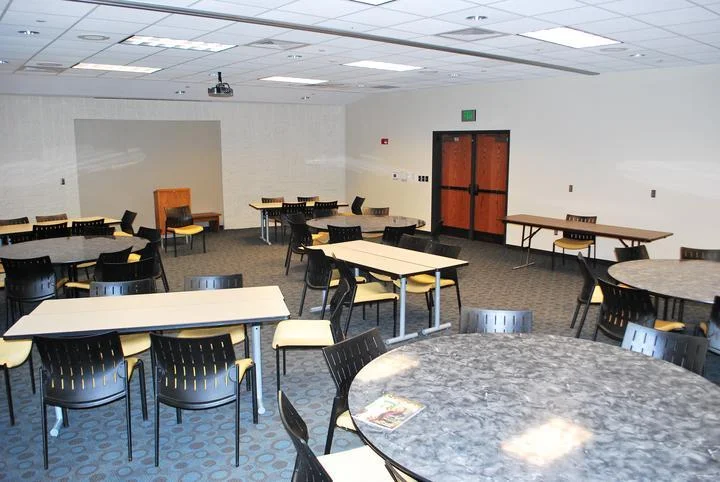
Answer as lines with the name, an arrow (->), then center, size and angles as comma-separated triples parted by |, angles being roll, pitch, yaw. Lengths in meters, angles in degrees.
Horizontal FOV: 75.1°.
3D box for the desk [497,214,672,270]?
desk -> 4.091, 0.107, 8.880 | 0.818, 0.776, 2.703 | -13, 17, -41
